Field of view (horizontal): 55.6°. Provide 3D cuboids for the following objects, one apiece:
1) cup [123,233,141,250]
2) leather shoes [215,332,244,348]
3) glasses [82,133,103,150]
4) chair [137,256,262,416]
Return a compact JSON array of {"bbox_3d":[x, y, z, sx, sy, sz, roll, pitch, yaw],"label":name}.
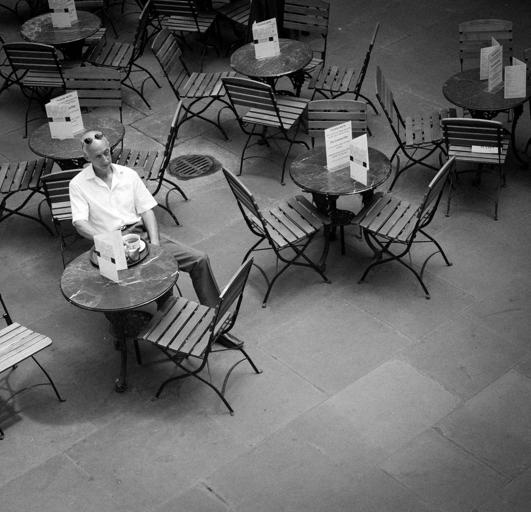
[{"bbox_3d":[-0.995,-0.112,3.698,0.129,0.083,0.096,20,44,16],"label":"cup"},{"bbox_3d":[-0.286,0.687,4.098,0.228,0.068,0.170,16,24,18],"label":"leather shoes"},{"bbox_3d":[-1.320,-0.884,3.854,0.176,0.150,0.116,-9,23,-13],"label":"glasses"},{"bbox_3d":[-0.437,0.518,3.566,0.787,0.992,0.788,-21,39,-34],"label":"chair"}]
